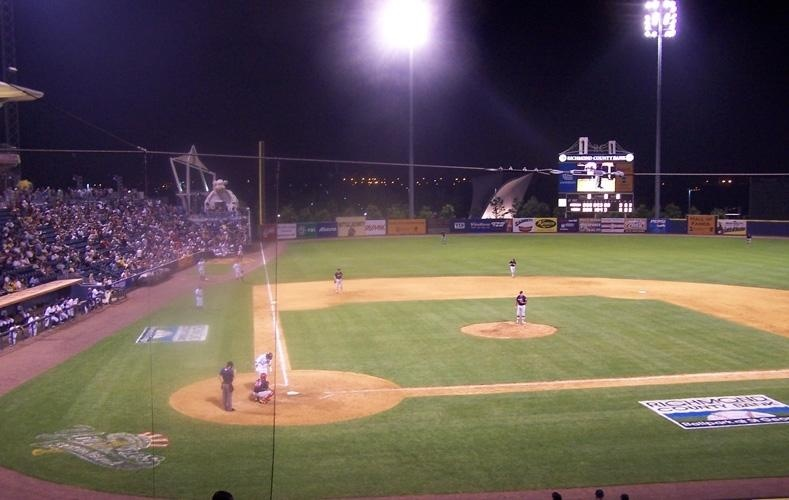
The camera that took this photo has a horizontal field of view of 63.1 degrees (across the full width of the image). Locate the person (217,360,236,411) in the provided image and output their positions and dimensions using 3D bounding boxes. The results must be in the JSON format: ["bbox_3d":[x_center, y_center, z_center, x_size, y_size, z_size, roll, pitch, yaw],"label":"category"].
[{"bbox_3d":[-6.196,4.991,23.913,0.541,1.864,0.954,-5,15,-17],"label":"person"}]

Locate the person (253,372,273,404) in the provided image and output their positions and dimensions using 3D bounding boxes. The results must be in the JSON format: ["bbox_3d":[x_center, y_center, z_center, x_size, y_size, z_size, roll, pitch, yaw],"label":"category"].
[{"bbox_3d":[-5.005,5.229,24.445,0.685,1.276,0.571,-4,15,-12],"label":"person"}]

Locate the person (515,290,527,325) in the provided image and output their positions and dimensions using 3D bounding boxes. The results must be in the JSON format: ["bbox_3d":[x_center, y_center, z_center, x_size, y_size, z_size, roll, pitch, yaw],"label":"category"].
[{"bbox_3d":[6.656,3.021,33.998,0.472,1.746,1.341,2,14,9],"label":"person"}]
